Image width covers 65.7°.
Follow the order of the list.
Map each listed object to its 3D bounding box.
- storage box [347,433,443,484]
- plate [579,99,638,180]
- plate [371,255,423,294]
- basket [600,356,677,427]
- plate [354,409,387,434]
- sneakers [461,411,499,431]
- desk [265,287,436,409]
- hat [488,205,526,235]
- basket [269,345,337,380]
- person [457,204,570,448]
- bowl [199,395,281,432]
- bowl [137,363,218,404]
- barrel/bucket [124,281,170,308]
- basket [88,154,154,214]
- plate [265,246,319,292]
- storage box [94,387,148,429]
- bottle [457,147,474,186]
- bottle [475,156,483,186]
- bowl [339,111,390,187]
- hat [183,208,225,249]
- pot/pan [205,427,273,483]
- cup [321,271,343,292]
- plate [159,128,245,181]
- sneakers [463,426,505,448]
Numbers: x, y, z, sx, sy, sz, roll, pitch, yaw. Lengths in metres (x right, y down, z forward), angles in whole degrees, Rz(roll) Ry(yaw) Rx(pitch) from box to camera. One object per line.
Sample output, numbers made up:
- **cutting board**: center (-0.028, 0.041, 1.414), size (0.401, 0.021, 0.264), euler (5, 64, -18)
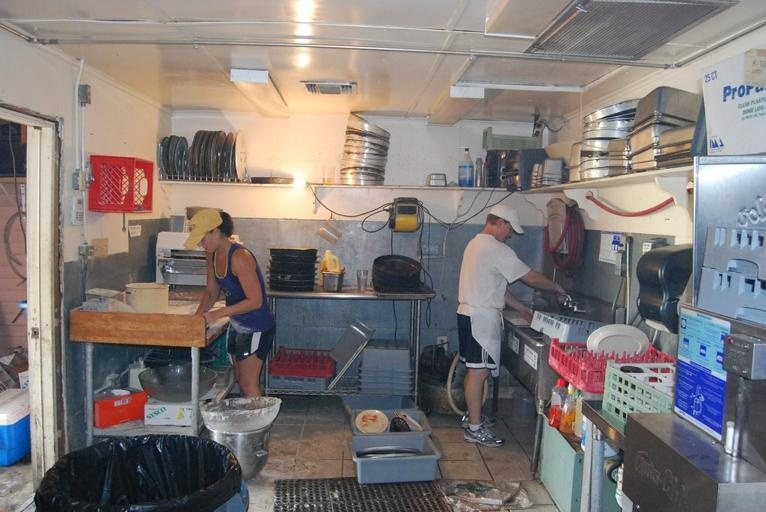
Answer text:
- **storage box**: center (0.096, 1.452, 4.228), size (0.442, 0.145, 0.320), euler (0, -2, -6)
- **plate**: center (1.560, -0.784, 4.190), size (0.517, 0.516, 0.499), euler (3, 4, 27)
- **plate**: center (0.114, 0.172, 5.316), size (0.353, 0.161, 0.354), euler (4, 14, 6)
- **basket**: center (1.340, 0.694, 3.082), size (0.288, 0.209, 0.413), euler (-1, 2, 12)
- **plate**: center (-0.076, 1.233, 4.358), size (0.253, 0.090, 0.228), euler (1, 12, 0)
- **sneakers**: center (0.802, 1.394, 4.989), size (0.351, 0.156, 0.126), euler (1, 1, -12)
- **desk**: center (-0.350, 0.823, 5.378), size (1.445, 0.994, 0.772), euler (2, 1, -8)
- **hat**: center (1.039, -0.292, 4.825), size (0.292, 0.151, 0.190), euler (29, 5, -8)
- **basket**: center (-0.711, 0.976, 5.432), size (0.566, 0.261, 0.439), euler (2, 12, 4)
- **person**: center (0.893, 0.547, 4.829), size (0.602, 1.875, 0.573), euler (-7, 15, -30)
- **bowl**: center (-1.068, 1.145, 4.237), size (0.528, 0.197, 0.543), euler (4, 0, 0)
- **bowl**: center (-1.642, 0.963, 4.458), size (0.379, 0.121, 0.380), euler (8, 7, -1)
- **barrel/bucket**: center (-1.723, 0.303, 4.360), size (0.208, 0.138, 0.222), euler (1, 4, 0)
- **basket**: center (-2.003, -0.512, 4.553), size (0.508, 0.527, 0.390), euler (0, 9, -32)
- **plate**: center (-0.792, 0.108, 5.211), size (0.386, 0.293, 0.396), euler (1, 3, 10)
- **storage box**: center (-1.943, 1.144, 4.399), size (0.200, 0.225, 0.421), euler (8, 5, 38)
- **bottle**: center (0.801, -0.843, 5.643), size (0.152, 0.336, 0.436), euler (3, 13, 7)
- **bottle**: center (0.921, -0.789, 5.601), size (0.097, 0.255, 0.226), euler (3, 13, 10)
- **bowl**: center (-0.158, -0.952, 5.361), size (0.424, 0.623, 0.218), euler (0, 13, -5)
- **hat**: center (-1.289, -0.202, 4.305), size (0.267, 0.271, 0.237), euler (-2, 13, -15)
- **pot/pan**: center (-0.964, 1.331, 4.089), size (0.462, 0.376, 0.481), euler (0, -5, -4)
- **cup**: center (-0.442, 0.234, 5.292), size (0.186, 0.144, 0.165), euler (0, -5, 7)
- **plate**: center (-1.644, -0.886, 5.390), size (0.577, 0.583, 0.315), euler (4, 17, 7)
- **sneakers**: center (0.803, 1.466, 4.753), size (0.340, 0.149, 0.130), euler (4, 1, 5)
